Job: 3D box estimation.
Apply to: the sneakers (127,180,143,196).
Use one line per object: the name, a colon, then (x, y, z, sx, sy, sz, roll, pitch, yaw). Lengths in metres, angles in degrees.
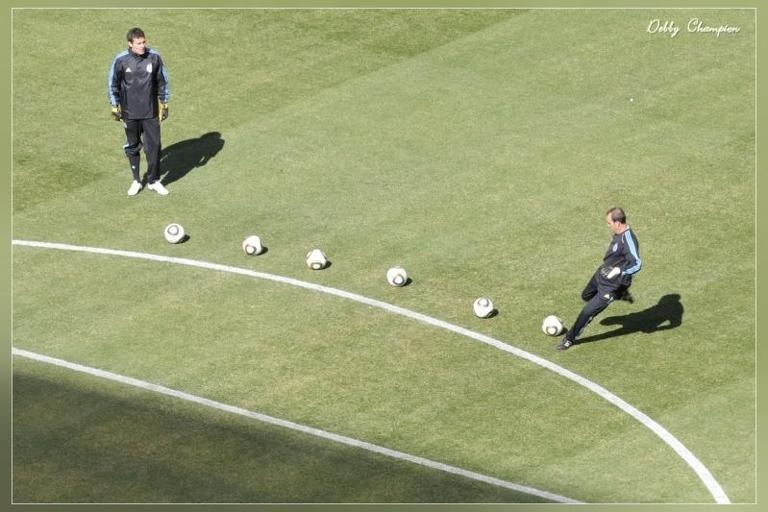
sneakers: (-5.431, -1.444, 35.361, 0.244, 0.350, 0.159, 19, -12, -6)

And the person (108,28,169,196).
person: (-5.192, -3.048, 34.691, 1.233, 3.773, 0.489, -3, 24, -6)

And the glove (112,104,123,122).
glove: (-5.678, -3.035, 34.549, 0.241, 0.261, 0.292, -1, -8, -3)

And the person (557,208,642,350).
person: (4.392, 0.518, 32.293, 1.348, 2.961, 0.656, 1, 24, 4)

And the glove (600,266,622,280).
glove: (4.487, 0.381, 32.058, 0.310, 0.111, 0.209, -2, 35, 46)

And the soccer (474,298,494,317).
soccer: (2.055, 1.098, 33.220, 0.437, 0.424, 0.320, 0, 22, 1)

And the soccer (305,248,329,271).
soccer: (-1.393, 0.096, 34.027, 0.505, 0.429, 0.347, -1, 22, -2)

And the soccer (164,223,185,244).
soccer: (-4.453, -0.462, 34.513, 0.460, 0.421, 0.443, -3, 21, -7)

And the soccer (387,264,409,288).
soccer: (0.288, 0.453, 33.730, 0.471, 0.417, 0.348, 0, 22, 1)

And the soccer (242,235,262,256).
soccer: (-2.748, -0.196, 34.192, 0.476, 0.385, 0.410, 3, -3, 20)

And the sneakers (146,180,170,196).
sneakers: (-4.858, -1.479, 35.353, 0.563, 0.233, 0.219, 18, 50, 18)
